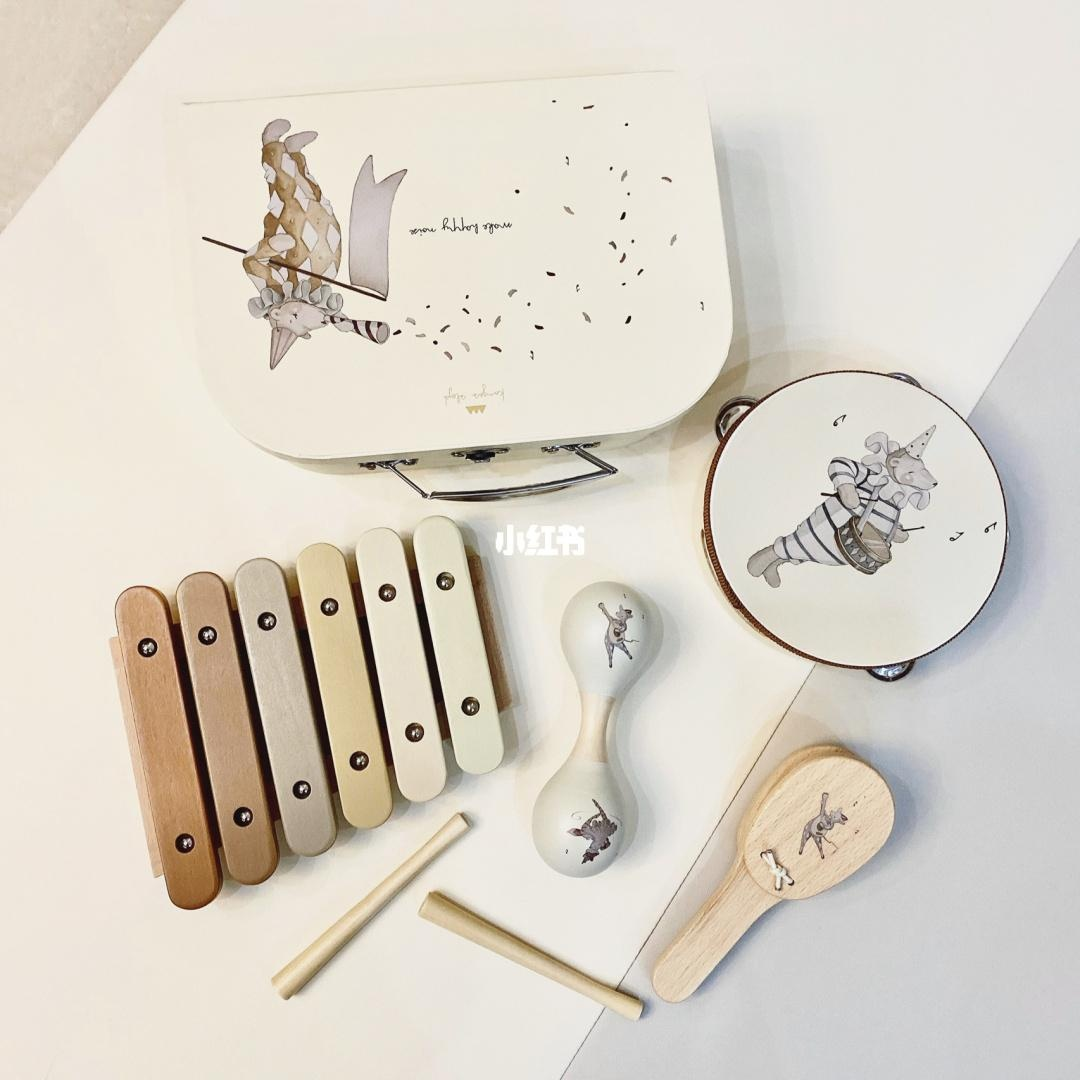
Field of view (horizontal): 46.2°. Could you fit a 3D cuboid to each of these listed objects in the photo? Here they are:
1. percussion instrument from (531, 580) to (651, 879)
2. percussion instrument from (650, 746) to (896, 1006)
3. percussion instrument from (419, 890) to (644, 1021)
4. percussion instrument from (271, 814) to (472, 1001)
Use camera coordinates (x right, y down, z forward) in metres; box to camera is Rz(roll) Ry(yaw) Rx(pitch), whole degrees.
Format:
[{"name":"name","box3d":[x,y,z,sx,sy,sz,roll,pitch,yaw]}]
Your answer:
[{"name":"percussion instrument","box3d":[0.063,0.223,1.527,0.113,0.377,0.117,11,-4,19]},{"name":"percussion instrument","box3d":[0.270,0.419,1.569,0.414,0.174,0.078,-49,-9,7]},{"name":"percussion instrument","box3d":[-0.023,0.503,1.523,0.221,0.041,0.035,32,-13,1]},{"name":"percussion instrument","box3d":[-0.210,0.441,1.513,0.289,0.045,0.043,-44,0,-7]}]
